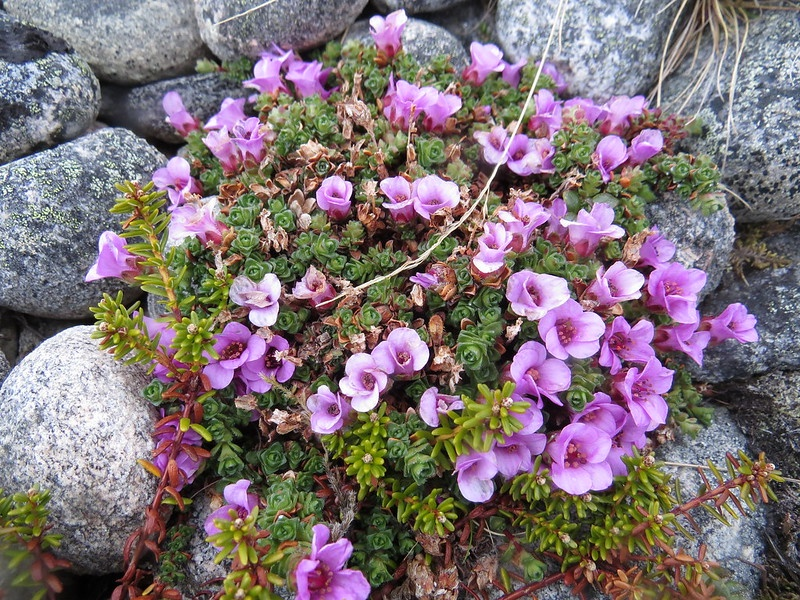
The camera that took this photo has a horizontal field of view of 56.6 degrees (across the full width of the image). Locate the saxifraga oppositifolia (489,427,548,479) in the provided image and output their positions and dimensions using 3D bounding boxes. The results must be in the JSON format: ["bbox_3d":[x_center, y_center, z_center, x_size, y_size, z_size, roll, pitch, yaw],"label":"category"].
[{"bbox_3d":[0.697,0.880,4.271,0.315,0.233,0.236,-16,82,0],"label":"saxifraga oppositifolia"}]

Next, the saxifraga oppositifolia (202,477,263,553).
[{"bbox_3d":[-0.930,1.184,4.156,0.326,0.372,0.139,-40,103,-20],"label":"saxifraga oppositifolia"}]

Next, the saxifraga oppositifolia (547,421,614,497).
[{"bbox_3d":[0.993,0.852,4.252,0.354,0.393,0.188,41,60,-31],"label":"saxifraga oppositifolia"}]
